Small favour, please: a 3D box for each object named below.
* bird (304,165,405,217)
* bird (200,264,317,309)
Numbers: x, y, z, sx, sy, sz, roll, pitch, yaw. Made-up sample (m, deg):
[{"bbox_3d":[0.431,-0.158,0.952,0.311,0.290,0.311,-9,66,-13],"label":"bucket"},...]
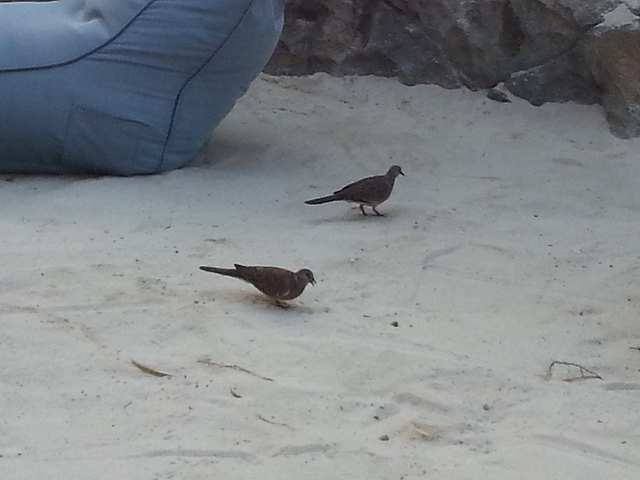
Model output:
[{"bbox_3d":[0.339,-0.416,8.981,1.030,0.395,0.280,-6,8,-21],"label":"bird"},{"bbox_3d":[-0.455,0.315,7.627,0.973,0.295,0.248,10,18,24],"label":"bird"}]
